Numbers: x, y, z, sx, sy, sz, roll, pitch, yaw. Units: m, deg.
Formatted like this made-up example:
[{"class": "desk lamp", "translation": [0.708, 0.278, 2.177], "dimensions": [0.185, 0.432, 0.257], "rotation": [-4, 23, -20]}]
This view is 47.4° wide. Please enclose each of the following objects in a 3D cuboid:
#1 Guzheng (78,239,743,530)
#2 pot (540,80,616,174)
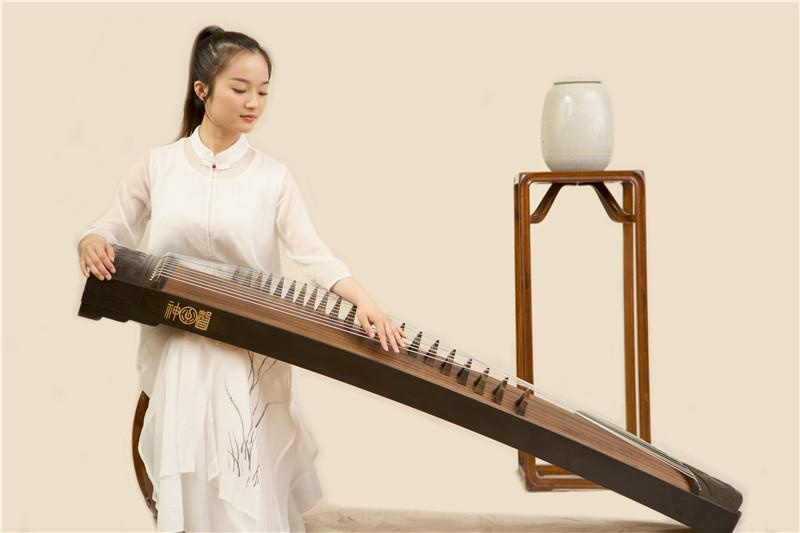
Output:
[{"class": "Guzheng", "translation": [-0.080, 0.490, 3.213], "dimensions": [1.828, 0.306, 0.279], "rotation": [26, 10, -10]}, {"class": "pot", "translation": [0.707, -0.560, 3.661], "dimensions": [0.261, 0.409, 0.284], "rotation": [1, 2, 0]}]
